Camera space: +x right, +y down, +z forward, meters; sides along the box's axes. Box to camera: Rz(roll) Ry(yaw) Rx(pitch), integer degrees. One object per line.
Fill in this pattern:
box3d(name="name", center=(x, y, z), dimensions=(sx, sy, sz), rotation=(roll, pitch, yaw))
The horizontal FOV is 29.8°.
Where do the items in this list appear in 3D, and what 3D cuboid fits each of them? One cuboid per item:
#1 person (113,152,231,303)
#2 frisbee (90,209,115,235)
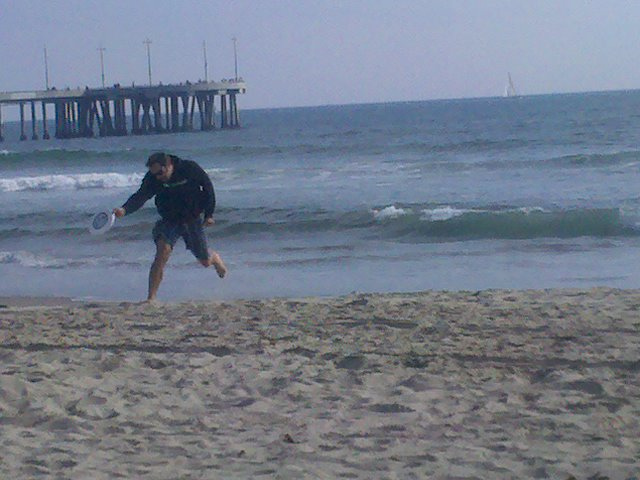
box3d(name="person", center=(-2.197, -0.239, 18.531), dimensions=(1.411, 2.299, 0.426), rotation=(-2, 13, -4))
box3d(name="frisbee", center=(-3.287, -0.303, 18.322), dimensions=(0.476, 0.407, 0.298), rotation=(11, 17, 43))
